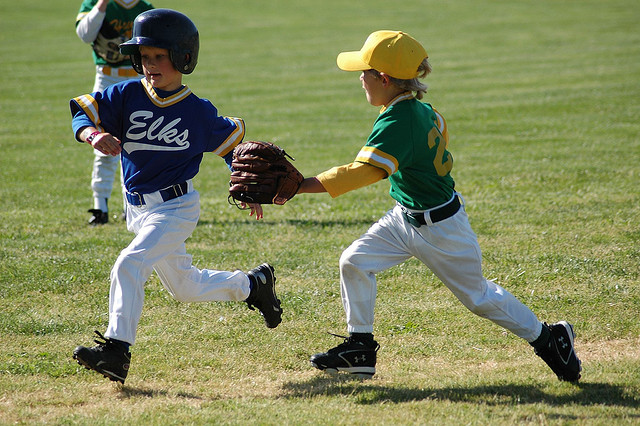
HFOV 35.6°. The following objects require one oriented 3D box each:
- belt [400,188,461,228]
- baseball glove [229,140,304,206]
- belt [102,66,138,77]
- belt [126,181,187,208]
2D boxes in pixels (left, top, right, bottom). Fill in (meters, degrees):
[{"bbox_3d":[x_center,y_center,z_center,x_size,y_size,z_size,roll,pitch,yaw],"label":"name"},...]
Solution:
[{"bbox_3d":[1.107,-0.039,9.938,0.209,0.341,0.833,3,-8,-24],"label":"belt"},{"bbox_3d":[-0.521,-0.390,9.899,0.749,0.604,0.282,-1,15,5],"label":"baseball glove"},{"bbox_3d":[-2.556,-1.810,12.831,0.452,0.152,0.152,-5,15,-13],"label":"belt"},{"bbox_3d":[-1.648,-0.185,10.132,0.612,0.244,0.142,-3,15,-5],"label":"belt"}]
